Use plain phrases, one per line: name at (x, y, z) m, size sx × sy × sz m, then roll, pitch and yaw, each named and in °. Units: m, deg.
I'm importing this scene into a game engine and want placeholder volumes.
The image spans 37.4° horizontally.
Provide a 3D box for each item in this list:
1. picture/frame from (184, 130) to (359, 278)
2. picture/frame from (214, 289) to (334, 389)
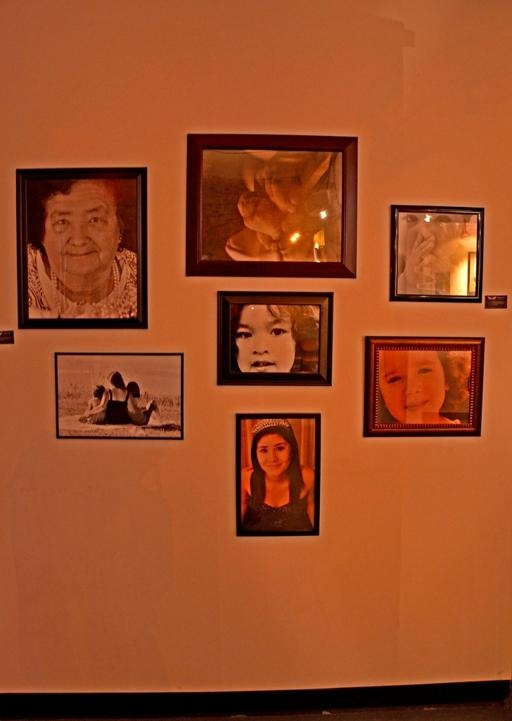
picture/frame at (0.039, -0.681, 3.219) m, size 0.600 × 0.524 × 0.025 m, roll 0°, pitch 2°, yaw -2°
picture/frame at (0.059, -0.108, 3.248) m, size 0.407 × 0.355 × 0.032 m, roll -1°, pitch 5°, yaw -1°
